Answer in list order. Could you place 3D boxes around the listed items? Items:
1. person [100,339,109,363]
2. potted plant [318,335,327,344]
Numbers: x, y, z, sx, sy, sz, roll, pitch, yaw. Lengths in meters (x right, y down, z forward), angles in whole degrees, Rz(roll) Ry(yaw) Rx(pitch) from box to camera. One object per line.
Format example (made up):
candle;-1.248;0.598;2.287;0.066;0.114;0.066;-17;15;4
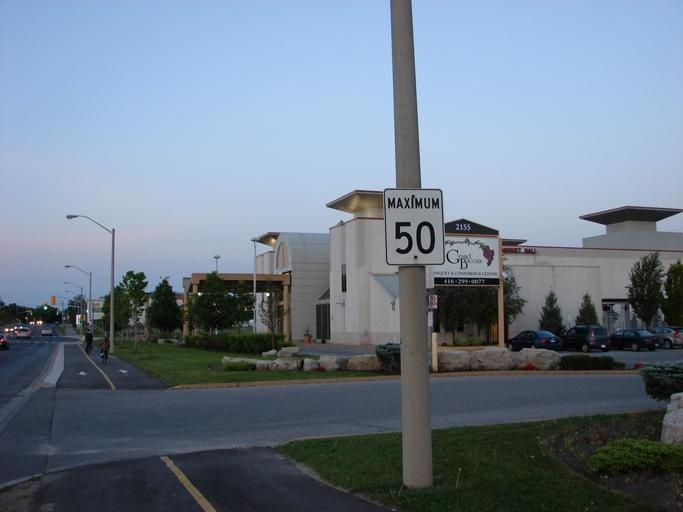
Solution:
person;-12.153;4.810;37.392;0.302;1.216;1.830;2;-7;-21
potted plant;-1.705;7.642;66.862;0.589;0.561;0.595;3;-6;-13
